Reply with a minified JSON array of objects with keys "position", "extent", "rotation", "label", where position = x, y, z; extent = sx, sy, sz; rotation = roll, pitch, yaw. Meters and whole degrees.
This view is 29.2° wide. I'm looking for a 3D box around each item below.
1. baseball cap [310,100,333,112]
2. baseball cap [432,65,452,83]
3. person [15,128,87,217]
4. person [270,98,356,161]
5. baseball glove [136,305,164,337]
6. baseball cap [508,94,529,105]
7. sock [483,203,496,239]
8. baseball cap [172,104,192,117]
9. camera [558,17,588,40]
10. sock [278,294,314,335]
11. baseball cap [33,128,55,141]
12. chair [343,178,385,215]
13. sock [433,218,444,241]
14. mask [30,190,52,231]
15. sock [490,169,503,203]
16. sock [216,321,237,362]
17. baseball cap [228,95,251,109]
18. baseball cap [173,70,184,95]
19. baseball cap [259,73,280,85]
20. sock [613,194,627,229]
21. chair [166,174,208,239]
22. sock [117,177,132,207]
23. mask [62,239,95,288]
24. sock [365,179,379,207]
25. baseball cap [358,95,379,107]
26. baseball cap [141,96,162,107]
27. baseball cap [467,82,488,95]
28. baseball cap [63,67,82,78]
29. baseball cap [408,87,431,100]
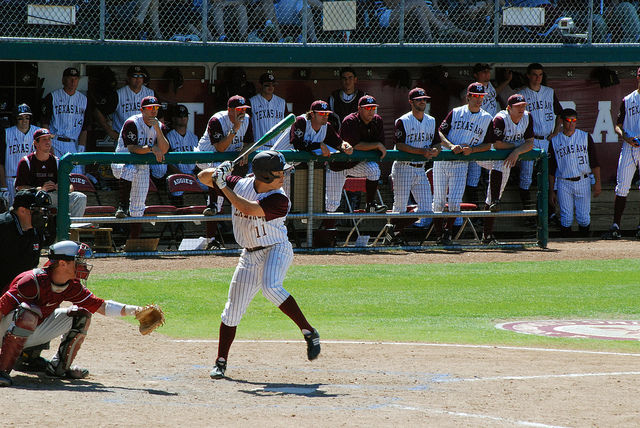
[{"position":[0.014,-1.755,20.077],"extent":[0.281,0.135,0.208],"rotation":[6,8,40],"label":"baseball cap"},{"position":[2.442,-2.713,23.793],"extent":[0.466,0.327,0.286],"rotation":[0,3,-41],"label":"baseball cap"},{"position":[-4.230,-0.534,19.250],"extent":[1.184,1.537,1.097],"rotation":[3,4,27],"label":"person"},{"position":[-0.094,-1.394,20.449],"extent":[0.874,0.805,1.783],"rotation":[-5,4,-42],"label":"person"},{"position":[-2.114,1.263,15.111],"extent":[0.326,0.320,0.130],"rotation":[-36,-26,-20],"label":"baseball glove"},{"position":[3.357,-1.942,20.942],"extent":[0.205,0.125,0.260],"rotation":[-2,3,-6],"label":"baseball cap"},{"position":[2.948,0.232,21.301],"extent":[0.162,0.376,0.289],"rotation":[3,2,9],"label":"sock"},{"position":[-2.493,-1.847,22.005],"extent":[0.268,0.214,0.283],"rotation":[2,2,-7],"label":"baseball cap"},{"position":[4.846,-3.516,23.427],"extent":[0.509,0.309,0.413],"rotation":[-2,6,3],"label":"camera"},{"position":[-0.322,1.255,15.144],"extent":[0.435,0.443,0.609],"rotation":[1,-2,-9],"label":"sock"},{"position":[-4.371,-1.271,19.405],"extent":[0.312,0.146,0.202],"rotation":[-12,4,-5],"label":"baseball cap"},{"position":[0.760,-0.335,22.029],"extent":[0.688,0.564,0.527],"rotation":[-2,2,25],"label":"chair"},{"position":[2.042,0.252,21.064],"extent":[0.173,0.372,0.263],"rotation":[2,2,4],"label":"sock"},{"position":[-3.475,-0.034,15.408],"extent":[0.189,0.500,0.344],"rotation":[3,2,12],"label":"mask"},{"position":[2.988,-0.474,20.983],"extent":[0.194,0.504,0.358],"rotation":[5,6,5],"label":"sock"},{"position":[-1.152,1.577,15.204],"extent":[0.211,0.497,0.279],"rotation":[2,2,-4],"label":"sock"},{"position":[-1.308,-1.830,20.125],"extent":[0.320,0.154,0.201],"rotation":[-4,-2,25],"label":"baseball cap"},{"position":[-2.656,-2.468,22.991],"extent":[0.142,0.309,0.257],"rotation":[-3,2,-17],"label":"baseball cap"},{"position":[-0.891,-2.383,21.499],"extent":[0.240,0.173,0.275],"rotation":[3,3,24],"label":"baseball cap"},{"position":[5.430,-0.061,22.159],"extent":[0.192,0.559,0.346],"rotation":[3,2,12],"label":"sock"},{"position":[-2.098,-0.107,20.789],"extent":[0.824,1.058,0.917],"rotation":[-7,13,-29],"label":"chair"},{"position":[-3.204,-0.365,20.055],"extent":[0.268,0.475,0.141],"rotation":[5,3,44],"label":"sock"},{"position":[-2.910,0.580,14.977],"extent":[0.446,0.484,0.267],"rotation":[4,-9,3],"label":"mask"},{"position":[0.884,-0.354,20.778],"extent":[0.183,0.456,0.283],"rotation":[2,2,2],"label":"sock"},{"position":[0.798,-1.865,20.323],"extent":[0.294,0.186,0.232],"rotation":[3,2,16],"label":"baseball cap"},{"position":[-2.750,-1.821,19.960],"extent":[0.284,0.170,0.377],"rotation":[2,2,-8],"label":"baseball cap"},{"position":[2.662,-2.109,20.830],"extent":[0.196,0.151,0.271],"rotation":[9,-9,-24],"label":"baseball cap"},{"position":[-4.402,-2.504,21.755],"extent":[0.275,0.196,0.431],"rotation":[2,2,-11],"label":"baseball cap"},{"position":[1.682,-2.040,20.787],"extent":[0.209,0.157,0.280],"rotation":[2,-4,-25],"label":"baseball cap"}]
